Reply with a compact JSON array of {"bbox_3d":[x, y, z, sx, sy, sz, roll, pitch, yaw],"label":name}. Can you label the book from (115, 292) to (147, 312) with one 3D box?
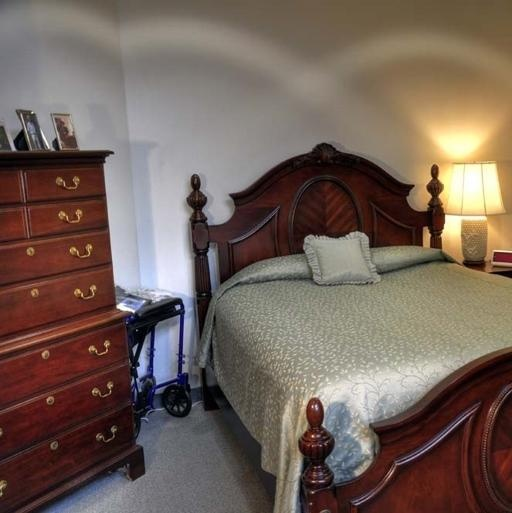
[{"bbox_3d":[-0.645,0.245,2.116,0.089,0.021,0.083,11,20,23],"label":"book"}]
